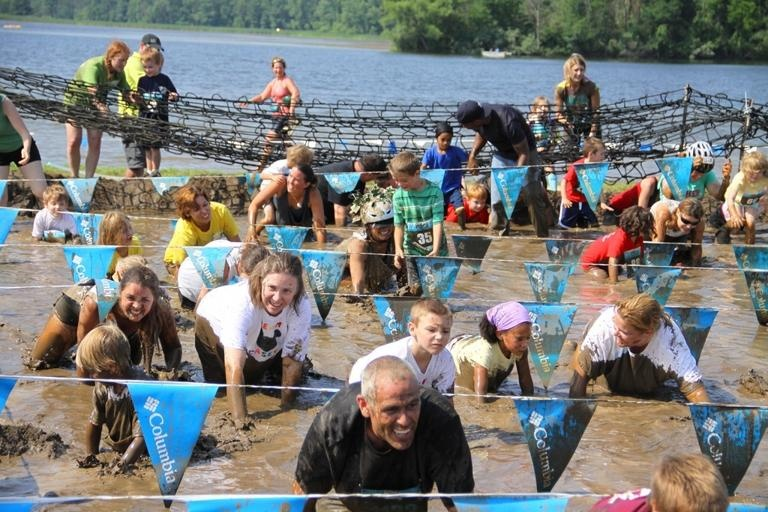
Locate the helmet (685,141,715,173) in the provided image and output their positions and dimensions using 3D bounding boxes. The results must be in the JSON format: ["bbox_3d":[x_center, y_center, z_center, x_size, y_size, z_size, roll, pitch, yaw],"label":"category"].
[{"bbox_3d":[5.347,-1.643,22.291,0.411,0.496,0.529,5,-5,10],"label":"helmet"}]

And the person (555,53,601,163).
[{"bbox_3d":[3.590,-2.584,24.566,0.725,2.100,1.236,-2,7,7],"label":"person"}]

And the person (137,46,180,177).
[{"bbox_3d":[-4.088,-2.597,23.892,0.680,2.289,1.267,-1,7,-10],"label":"person"}]

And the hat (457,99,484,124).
[{"bbox_3d":[1.406,-2.328,21.816,0.323,0.254,0.433,-11,40,24],"label":"hat"}]
